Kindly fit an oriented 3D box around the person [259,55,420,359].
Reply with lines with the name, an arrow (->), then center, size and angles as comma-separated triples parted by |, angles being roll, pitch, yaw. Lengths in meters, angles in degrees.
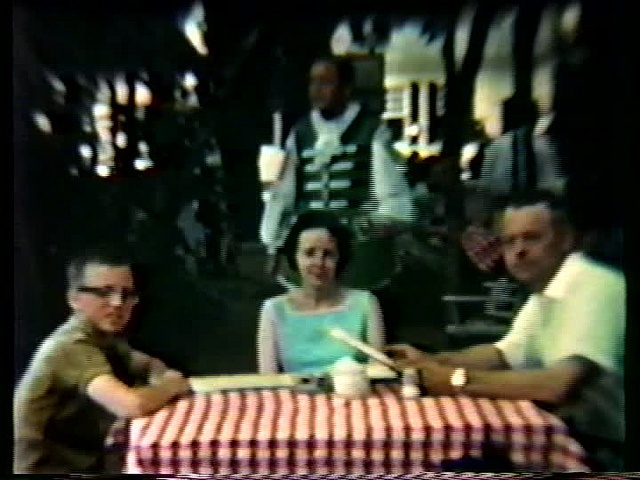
person -> 0.066, -0.287, 2.816 | 0.648, 0.952, 0.240 | -3, 15, 5
